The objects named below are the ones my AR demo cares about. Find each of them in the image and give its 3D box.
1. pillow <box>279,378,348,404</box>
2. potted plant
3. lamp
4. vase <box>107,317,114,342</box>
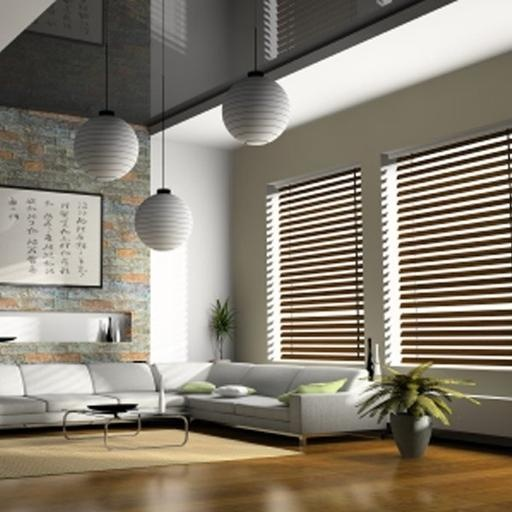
[{"bbox_3d":[0.537,1.133,4.628,0.323,0.094,0.331,-5,-22,-41],"label":"pillow"},{"bbox_3d":[1.192,1.051,4.157,0.876,0.645,0.858,-4,-9,27],"label":"potted plant"},{"bbox_3d":[-0.787,-1.325,5.481,2.182,2.964,0.776,-6,-10,30],"label":"lamp"},{"bbox_3d":[-1.745,0.888,6.556,0.078,0.283,0.124,2,-3,-15],"label":"vase"}]
